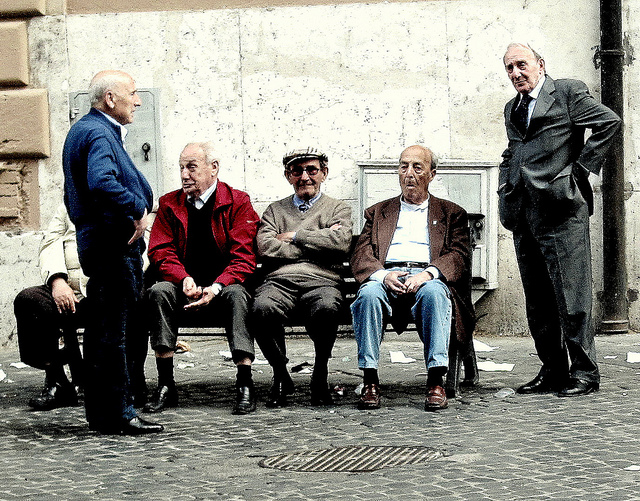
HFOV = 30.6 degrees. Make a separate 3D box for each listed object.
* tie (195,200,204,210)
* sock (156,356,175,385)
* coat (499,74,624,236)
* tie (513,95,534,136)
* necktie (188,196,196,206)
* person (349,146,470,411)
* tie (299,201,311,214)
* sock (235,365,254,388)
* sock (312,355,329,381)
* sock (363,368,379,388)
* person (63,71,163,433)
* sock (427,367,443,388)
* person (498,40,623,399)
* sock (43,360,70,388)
[{"bbox_3d":[-0.868,-0.316,8.240,0.058,0.054,0.013,15,-1,12],"label":"tie"},{"bbox_3d":[-1.059,0.803,7.913,0.105,0.190,0.080,-4,7,-13],"label":"sock"},{"bbox_3d":[1.583,-0.420,8.062,0.544,1.548,1.080,8,-11,-38],"label":"coat"},{"bbox_3d":[1.380,-0.921,8.022,0.065,0.224,0.166,9,-4,-9],"label":"tie"},{"bbox_3d":[-0.914,-0.344,8.249,0.043,0.056,0.017,33,19,8],"label":"necktie"},{"bbox_3d":[0.607,0.136,7.992,0.805,1.660,0.974,-1,7,7],"label":"person"},{"bbox_3d":[-0.122,-0.306,8.437,0.067,0.067,0.019,-30,-17,3],"label":"tie"},{"bbox_3d":[-0.518,0.827,7.819,0.105,0.138,0.169,-3,7,-5],"label":"sock"},{"bbox_3d":[-0.011,0.791,7.917,0.101,0.185,0.179,-2,7,1],"label":"sock"},{"bbox_3d":[0.325,0.835,7.807,0.099,0.128,0.148,-2,7,0],"label":"sock"},{"bbox_3d":[-1.303,0.008,7.288,0.514,2.216,0.494,-4,7,-12],"label":"person"},{"bbox_3d":[0.750,0.825,7.731,0.100,0.128,0.124,-1,7,5],"label":"sock"},{"bbox_3d":[1.590,-0.221,7.945,0.841,2.373,0.512,1,8,22],"label":"person"},{"bbox_3d":[-1.845,0.841,8.110,0.167,0.195,0.091,-4,7,-17],"label":"sock"}]
